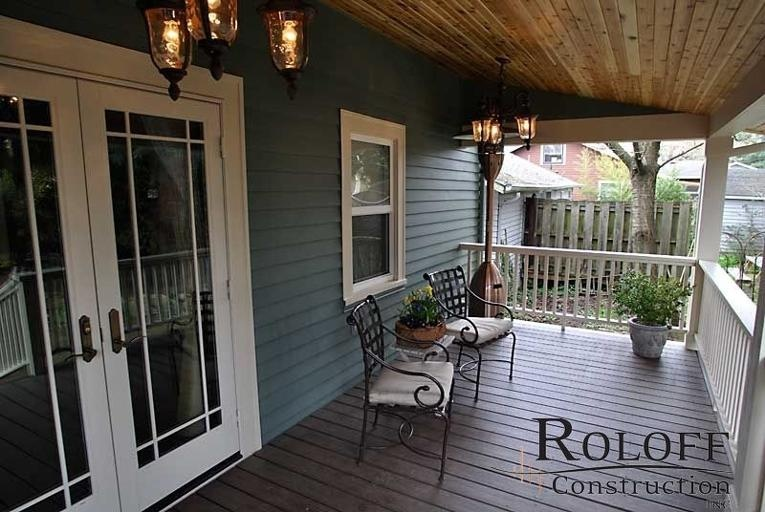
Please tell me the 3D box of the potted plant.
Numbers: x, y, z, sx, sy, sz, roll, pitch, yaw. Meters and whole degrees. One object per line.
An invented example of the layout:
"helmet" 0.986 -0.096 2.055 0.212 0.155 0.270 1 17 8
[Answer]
"potted plant" 3.011 0.657 5.720 0.678 0.945 0.403 0 12 0

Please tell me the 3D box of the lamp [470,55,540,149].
"lamp" 1.521 -1.777 6.092 0.643 1.038 1.641 3 12 17
